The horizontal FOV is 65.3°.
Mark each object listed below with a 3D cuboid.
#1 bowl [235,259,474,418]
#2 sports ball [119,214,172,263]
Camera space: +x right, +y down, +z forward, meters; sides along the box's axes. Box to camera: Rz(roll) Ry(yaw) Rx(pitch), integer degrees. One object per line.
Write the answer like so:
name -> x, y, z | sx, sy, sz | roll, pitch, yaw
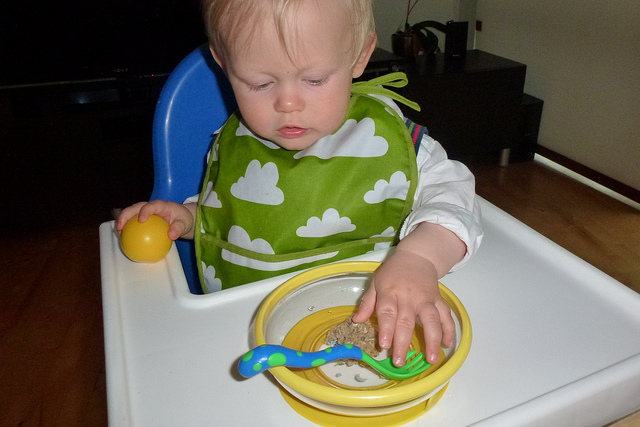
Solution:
bowl -> 0.063, 0.155, 0.853 | 0.309, 0.101, 0.267 | -17, 37, -19
sports ball -> -0.379, 0.071, 1.117 | 0.090, 0.100, 0.109 | -10, 13, 36
